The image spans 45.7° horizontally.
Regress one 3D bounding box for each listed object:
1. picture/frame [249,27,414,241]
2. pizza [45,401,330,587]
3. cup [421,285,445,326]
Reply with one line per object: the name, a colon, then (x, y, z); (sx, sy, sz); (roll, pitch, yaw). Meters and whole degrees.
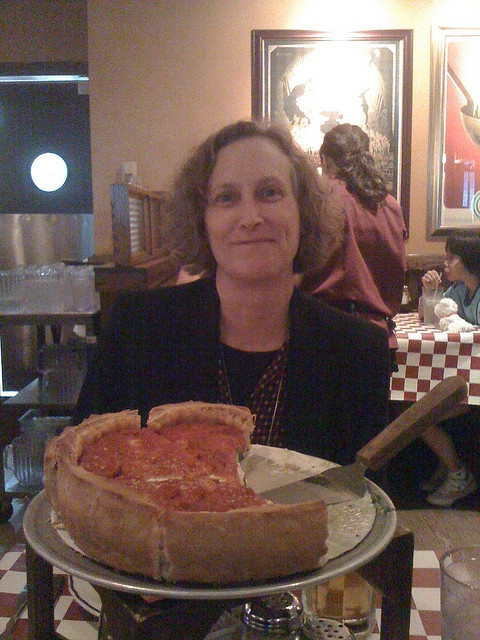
picture/frame: (0.482, -1.063, 3.003); (0.813, 1.376, 0.059); (2, -31, 7)
pizza: (-0.060, 0.146, 0.530); (0.230, 0.069, 0.303); (3, 12, -24)
cup: (0.799, -0.067, 2.394); (0.097, 0.231, 0.120); (0, -1, 3)
